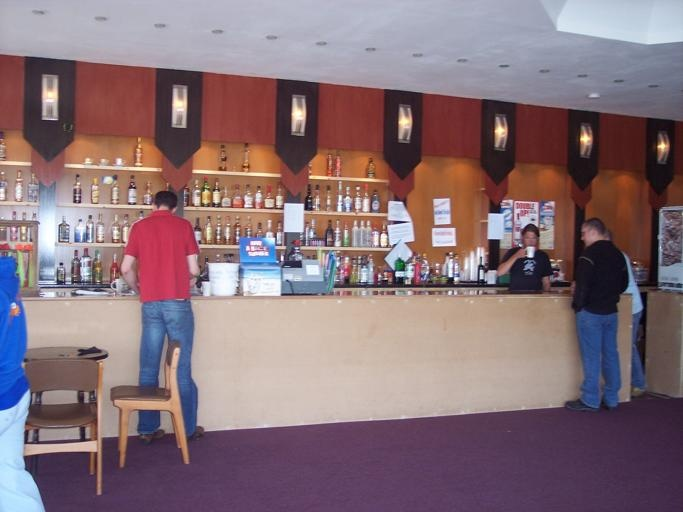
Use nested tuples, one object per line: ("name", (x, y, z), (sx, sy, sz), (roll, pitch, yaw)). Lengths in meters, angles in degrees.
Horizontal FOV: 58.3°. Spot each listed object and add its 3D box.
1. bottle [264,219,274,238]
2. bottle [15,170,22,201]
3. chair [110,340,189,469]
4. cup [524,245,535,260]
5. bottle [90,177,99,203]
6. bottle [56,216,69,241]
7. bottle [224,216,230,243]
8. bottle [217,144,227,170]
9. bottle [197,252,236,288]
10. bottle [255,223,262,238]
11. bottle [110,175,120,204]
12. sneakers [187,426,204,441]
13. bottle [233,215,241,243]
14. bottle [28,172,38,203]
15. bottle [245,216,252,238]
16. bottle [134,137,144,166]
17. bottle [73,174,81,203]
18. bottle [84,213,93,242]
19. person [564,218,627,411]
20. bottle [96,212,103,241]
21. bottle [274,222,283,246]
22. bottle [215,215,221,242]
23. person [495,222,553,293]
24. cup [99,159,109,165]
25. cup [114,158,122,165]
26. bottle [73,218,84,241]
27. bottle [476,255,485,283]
("bottle", (-0.914, -0.343, 7.759), (0.102, 0.205, 0.210), (0, 9, -6))
("bottle", (-3.732, -0.809, 7.088), (0.095, 0.352, 0.217), (-4, 10, -28))
("chair", (-1.520, 1.168, 4.891), (0.717, 0.860, 0.721), (1, -3, 12))
("cup", (2.009, -0.036, 6.465), (0.100, 0.134, 0.152), (-1, -1, 1))
("bottle", (-2.948, -0.778, 7.313), (0.105, 0.298, 0.211), (-3, 10, -22))
("bottle", (-3.277, -0.309, 7.230), (0.131, 0.299, 0.210), (-3, 10, -25))
("bottle", (-1.431, -0.314, 7.687), (0.083, 0.306, 0.193), (-1, 9, -10))
("bottle", (-1.492, -1.225, 7.635), (0.106, 0.329, 0.191), (1, 9, -2))
("bottle", (-1.454, 0.158, 7.316), (0.439, 0.440, 0.363), (-1, -1, 13))
("bottle", (-1.046, -0.336, 7.786), (0.083, 0.168, 0.114), (0, 9, -4))
("bottle", (-2.717, -0.788, 7.343), (0.112, 0.340, 0.290), (-2, 10, -21))
("sneakers", (-1.232, 1.520, 5.209), (0.075, 0.050, 0.114), (5, -4, -33))
("bottle", (-1.310, -0.323, 7.712), (0.089, 0.326, 0.181), (-1, 9, -12))
("bottle", (-3.577, -0.786, 7.116), (0.120, 0.328, 0.245), (-3, 10, -26))
("bottle", (-1.175, -0.359, 7.732), (0.078, 0.223, 0.182), (0, 9, -6))
("bottle", (-2.444, -1.247, 7.375), (0.107, 0.348, 0.228), (-2, 9, -19))
("bottle", (-3.131, -0.791, 7.260), (0.095, 0.337, 0.234), (-3, 10, -23))
("bottle", (-2.993, -0.322, 7.277), (0.098, 0.313, 0.284), (-3, 10, -22))
("person", (2.550, 0.585, 6.095), (0.506, 1.851, 0.599), (5, 10, 25))
("bottle", (-2.890, -0.331, 7.333), (0.112, 0.321, 0.333), (-3, 10, -22))
("bottle", (-0.793, -0.280, 7.785), (0.095, 0.287, 0.212), (-1, 9, -11))
("bottle", (-1.539, -0.326, 7.662), (0.079, 0.318, 0.158), (-1, 9, -13))
("person", (2.024, 0.040, 6.826), (0.569, 0.774, 0.841), (5, 10, 22))
("cup", (-2.829, -1.129, 7.282), (0.084, 0.097, 0.086), (1, -3, 0))
("cup", (-2.632, -1.118, 7.253), (0.071, 0.069, 0.092), (0, -2, 11))
("bottle", (-3.098, -0.296, 7.253), (0.126, 0.264, 0.275), (-3, 10, -24))
("bottle", (1.880, 0.194, 8.243), (0.105, 0.323, 0.308), (3, 9, 12))
